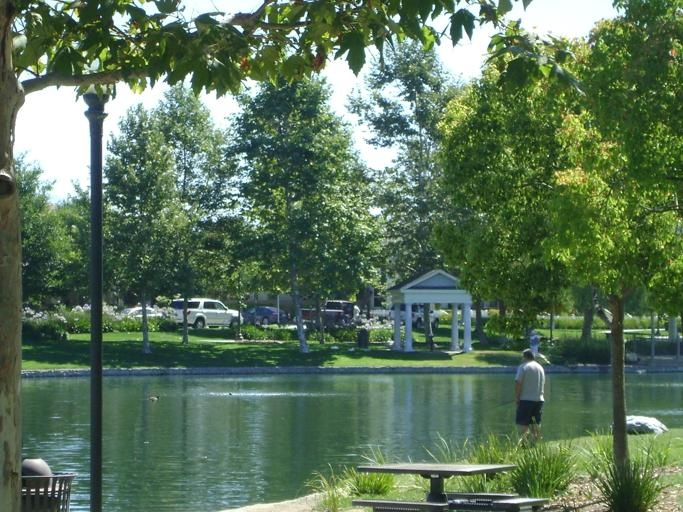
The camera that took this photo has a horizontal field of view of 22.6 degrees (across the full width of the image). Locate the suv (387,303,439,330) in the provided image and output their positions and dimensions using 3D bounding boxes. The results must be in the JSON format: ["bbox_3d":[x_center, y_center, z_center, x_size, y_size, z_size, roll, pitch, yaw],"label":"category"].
[{"bbox_3d":[4.318,3.165,91.559,1.228,0.981,2.470,1,2,40],"label":"suv"}]

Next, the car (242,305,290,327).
[{"bbox_3d":[-3.984,3.058,88.419,2.138,0.725,0.995,3,-1,-1],"label":"car"}]

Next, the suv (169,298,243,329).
[{"bbox_3d":[-6.874,2.771,83.194,3.584,1.403,1.625,-2,2,-40],"label":"suv"}]

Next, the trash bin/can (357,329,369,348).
[{"bbox_3d":[0.908,3.475,73.331,0.697,0.974,0.665,0,-5,-5],"label":"trash bin/can"}]

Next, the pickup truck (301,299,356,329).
[{"bbox_3d":[-0.499,2.920,86.993,2.434,1.069,1.357,3,1,20],"label":"pickup truck"}]
